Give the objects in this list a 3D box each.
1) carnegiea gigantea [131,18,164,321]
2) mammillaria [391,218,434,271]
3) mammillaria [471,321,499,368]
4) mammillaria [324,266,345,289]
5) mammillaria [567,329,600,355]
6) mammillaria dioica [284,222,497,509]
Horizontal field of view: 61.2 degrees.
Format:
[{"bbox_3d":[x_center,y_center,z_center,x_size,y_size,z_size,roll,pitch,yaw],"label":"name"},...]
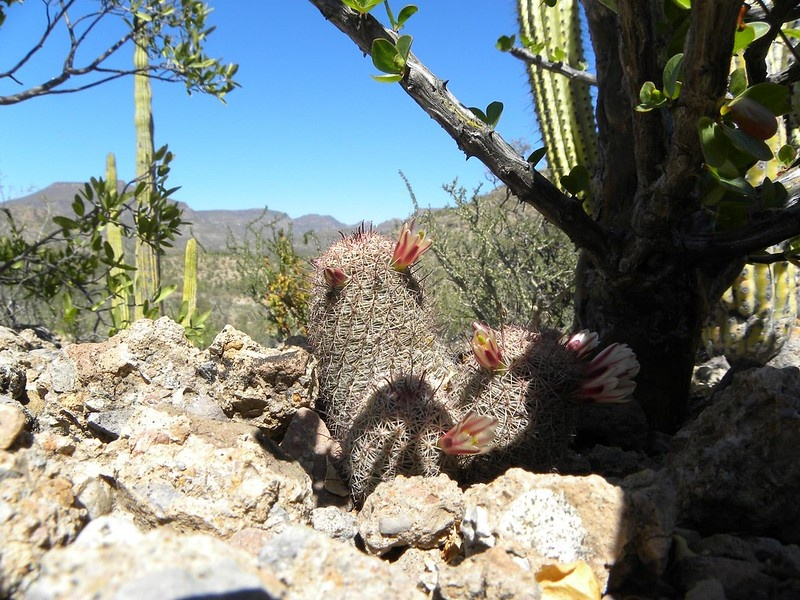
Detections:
[{"bbox_3d":[-2.453,-1.307,6.411,0.324,2.371,2.362,-5,3,-20],"label":"carnegiea gigantea"},{"bbox_3d":[0.057,-0.246,3.729,0.180,0.218,0.166,29,-22,11],"label":"mammillaria"},{"bbox_3d":[0.431,0.234,3.361,0.152,0.250,0.147,-4,3,7],"label":"mammillaria"},{"bbox_3d":[-0.366,-0.122,3.720,0.134,0.122,0.125,-4,3,19],"label":"mammillaria"},{"bbox_3d":[0.957,0.232,3.547,0.138,0.140,0.140,-15,-22,22],"label":"mammillaria"},{"bbox_3d":[-0.045,0.361,3.776,0.777,1.591,0.740,-4,-2,15],"label":"mammillaria dioica"}]
